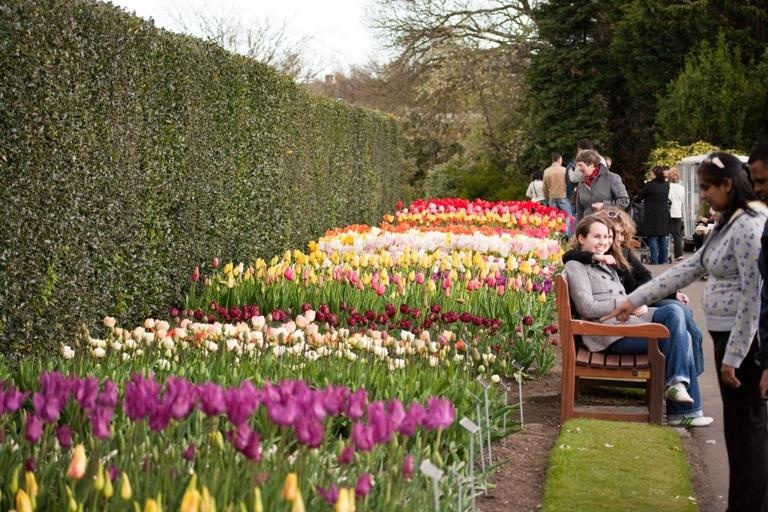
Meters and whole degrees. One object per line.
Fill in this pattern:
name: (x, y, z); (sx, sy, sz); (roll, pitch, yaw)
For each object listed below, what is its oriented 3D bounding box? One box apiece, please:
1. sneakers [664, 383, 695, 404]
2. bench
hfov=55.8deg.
sneakers: (2.220, 1.058, 5.506); (0.103, 0.124, 0.289); (-37, -21, 18)
bench: (1.988, 0.752, 6.336); (0.830, 1.150, 1.583); (0, 3, 17)
